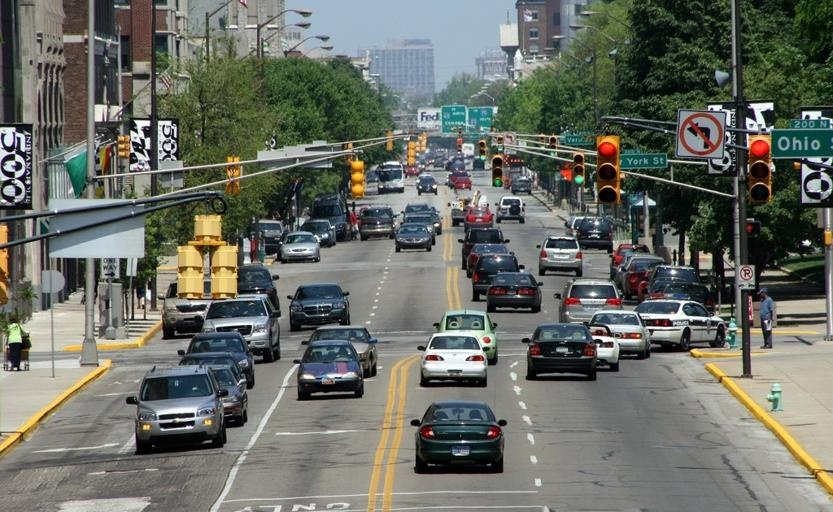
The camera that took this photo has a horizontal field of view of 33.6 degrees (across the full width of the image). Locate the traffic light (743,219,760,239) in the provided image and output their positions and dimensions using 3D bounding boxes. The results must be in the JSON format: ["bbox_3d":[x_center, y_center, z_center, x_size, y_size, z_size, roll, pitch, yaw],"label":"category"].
[{"bbox_3d":[13.456,-1.142,55.611,0.971,0.952,0.517,-1,-1,9],"label":"traffic light"}]

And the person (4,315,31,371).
[{"bbox_3d":[-16.375,3.551,56.619,0.894,2.242,1.509,-4,7,-17],"label":"person"}]

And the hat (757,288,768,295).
[{"bbox_3d":[16.960,1.700,67.752,0.475,0.258,0.650,0,-9,4],"label":"hat"}]

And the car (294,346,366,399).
[{"bbox_3d":[-3.142,4.174,49.529,2.318,1.934,1.299,-3,7,-7],"label":"car"}]

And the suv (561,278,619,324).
[{"bbox_3d":[7.851,2.081,62.995,2.710,1.813,2.060,-1,7,12],"label":"suv"}]

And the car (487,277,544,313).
[{"bbox_3d":[4.700,1.812,67.747,2.584,1.990,2.169,-2,7,0],"label":"car"}]

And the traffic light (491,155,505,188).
[{"bbox_3d":[3.851,-4.115,65.877,0.461,1.478,1.363,-2,7,1],"label":"traffic light"}]

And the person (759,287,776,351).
[{"bbox_3d":[14.891,2.620,58.766,0.456,2.595,1.596,0,7,15],"label":"person"}]

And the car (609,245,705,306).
[{"bbox_3d":[12.372,1.013,71.709,2.589,1.902,6.178,0,6,-1],"label":"car"}]

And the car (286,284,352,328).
[{"bbox_3d":[-4.496,2.406,63.931,2.982,1.999,1.486,3,8,36],"label":"car"}]

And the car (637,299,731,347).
[{"bbox_3d":[11.282,2.964,59.093,3.964,2.282,1.122,-5,7,-27],"label":"car"}]

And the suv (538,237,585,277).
[{"bbox_3d":[8.327,-0.003,80.347,2.371,2.360,1.219,0,7,15],"label":"suv"}]

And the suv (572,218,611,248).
[{"bbox_3d":[12.384,-1.581,96.862,2.511,2.352,2.085,-1,7,5],"label":"suv"}]
